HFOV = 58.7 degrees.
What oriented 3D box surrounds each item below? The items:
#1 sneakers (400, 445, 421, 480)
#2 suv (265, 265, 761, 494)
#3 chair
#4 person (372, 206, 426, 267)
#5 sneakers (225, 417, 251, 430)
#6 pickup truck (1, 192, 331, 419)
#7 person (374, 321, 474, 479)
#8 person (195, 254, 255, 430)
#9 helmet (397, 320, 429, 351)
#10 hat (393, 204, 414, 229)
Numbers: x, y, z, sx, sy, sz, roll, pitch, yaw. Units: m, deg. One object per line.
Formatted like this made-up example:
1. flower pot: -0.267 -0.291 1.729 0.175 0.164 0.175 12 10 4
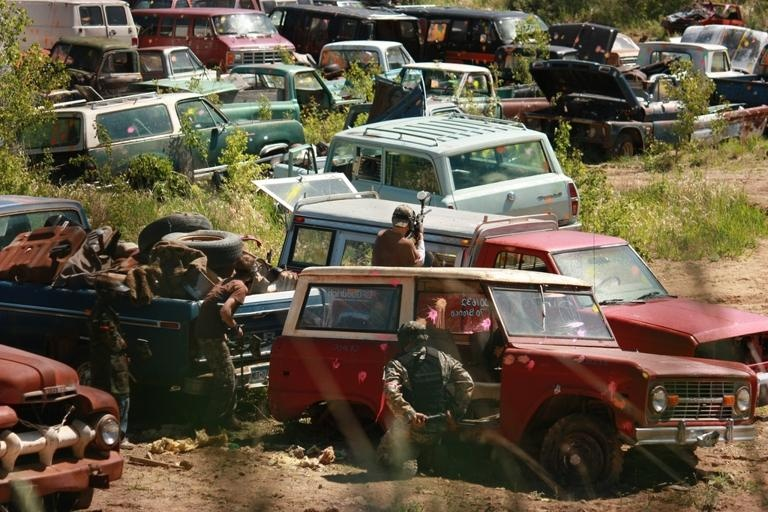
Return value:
1. sneakers: 0.242 2.090 6.919 0.212 0.315 0.093 5 -14 2
2. suv: 1.353 1.353 7.151 4.179 2.025 2.455 0 3 25
3. chair: 0.825 1.185 7.448 0.897 1.003 0.721 0 7 12
4. person: 0.187 -0.218 8.427 0.680 0.716 0.595 -2 16 -7
5. sneakers: -1.796 1.961 8.071 0.240 0.097 0.153 12 8 43
6. pickup truck: -3.071 0.462 8.574 3.703 1.797 2.183 6 11 19
7. person: 0.387 1.482 6.836 0.934 1.585 0.505 -1 15 -1
8. person: -1.863 1.162 7.788 0.547 1.721 0.471 -2 15 -6
9. helmet: 0.276 0.784 6.959 0.299 0.284 0.260 10 13 21
10. hat: 0.218 -0.492 8.576 0.220 0.257 0.295 9 16 15
